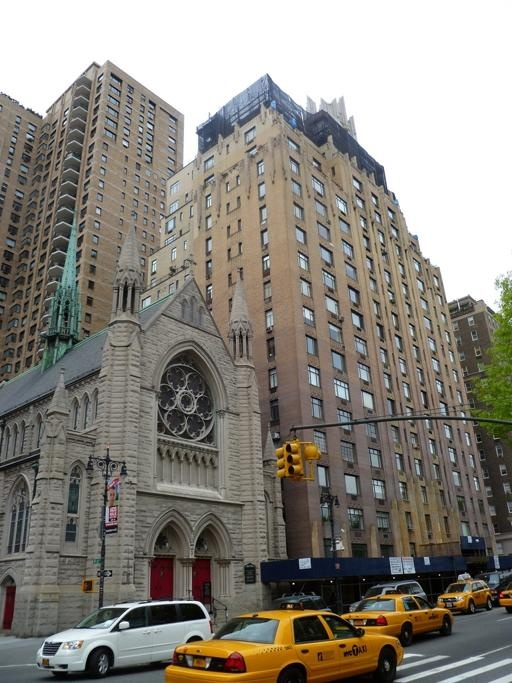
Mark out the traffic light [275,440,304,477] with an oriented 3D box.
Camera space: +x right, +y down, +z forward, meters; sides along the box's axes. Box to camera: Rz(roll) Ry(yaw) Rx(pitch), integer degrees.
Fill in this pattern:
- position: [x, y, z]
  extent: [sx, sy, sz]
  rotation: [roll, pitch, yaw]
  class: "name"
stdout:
- position: [0.791, 2.860, 12.797]
  extent: [0.593, 1.058, 1.190]
  rotation: [-5, -24, 1]
  class: "traffic light"
